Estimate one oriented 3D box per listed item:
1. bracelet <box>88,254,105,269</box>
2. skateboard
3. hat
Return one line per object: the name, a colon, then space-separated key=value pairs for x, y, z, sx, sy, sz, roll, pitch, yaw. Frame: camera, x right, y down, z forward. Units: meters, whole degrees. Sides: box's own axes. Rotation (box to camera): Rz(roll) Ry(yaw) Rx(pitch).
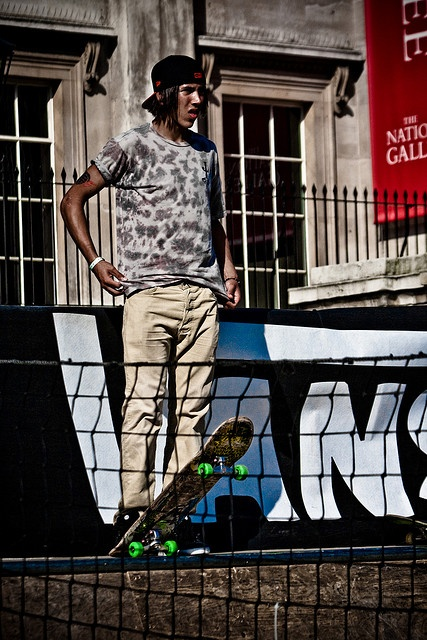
bracelet: x=-0.683 y=-0.345 z=11.118 sx=0.066 sy=0.018 sz=0.073 roll=-41 pitch=-18 yaw=-37
skateboard: x=-0.213 y=0.995 z=11.120 sx=0.203 sy=0.136 sz=0.894 roll=19 pitch=-64 yaw=-45
hat: x=-0.220 y=-1.394 z=11.411 sx=0.334 sy=0.325 sz=0.264 roll=-19 pitch=-1 yaw=13
